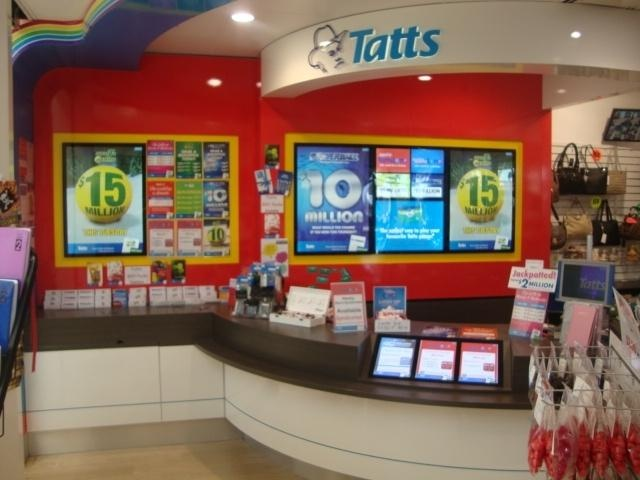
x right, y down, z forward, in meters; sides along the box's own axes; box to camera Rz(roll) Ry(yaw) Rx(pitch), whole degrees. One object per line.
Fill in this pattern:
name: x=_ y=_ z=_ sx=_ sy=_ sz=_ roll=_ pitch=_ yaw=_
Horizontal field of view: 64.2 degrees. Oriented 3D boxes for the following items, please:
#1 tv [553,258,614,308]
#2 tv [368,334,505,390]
tv: x=1.955 y=0.321 z=3.780 sx=0.384 sy=0.339 sz=0.054 roll=0 pitch=-8 yaw=43
tv: x=0.865 y=0.900 z=3.787 sx=1.095 sy=0.275 sz=0.413 roll=0 pitch=18 yaw=7
